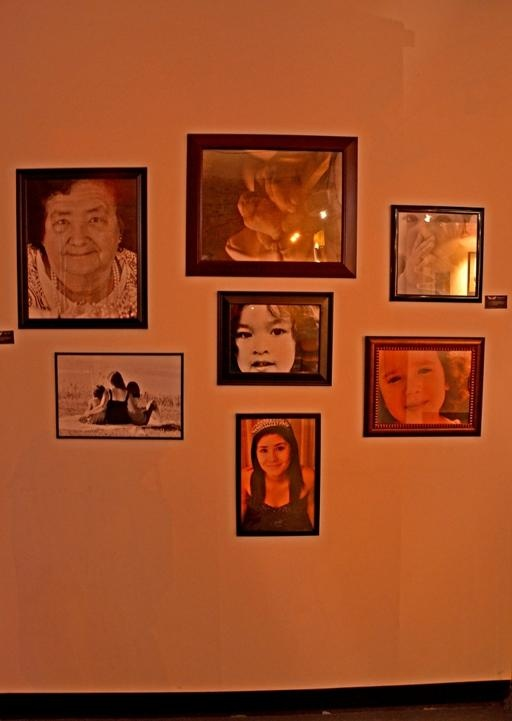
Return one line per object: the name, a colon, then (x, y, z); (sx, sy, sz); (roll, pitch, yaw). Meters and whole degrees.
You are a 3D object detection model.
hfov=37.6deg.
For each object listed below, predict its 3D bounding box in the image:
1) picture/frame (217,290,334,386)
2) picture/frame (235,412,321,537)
picture/frame: (0.063, -0.114, 3.270); (0.392, 0.351, 0.033); (-1, 5, -2)
picture/frame: (0.081, 0.481, 3.292); (0.515, 0.728, 0.026); (0, 6, 0)
